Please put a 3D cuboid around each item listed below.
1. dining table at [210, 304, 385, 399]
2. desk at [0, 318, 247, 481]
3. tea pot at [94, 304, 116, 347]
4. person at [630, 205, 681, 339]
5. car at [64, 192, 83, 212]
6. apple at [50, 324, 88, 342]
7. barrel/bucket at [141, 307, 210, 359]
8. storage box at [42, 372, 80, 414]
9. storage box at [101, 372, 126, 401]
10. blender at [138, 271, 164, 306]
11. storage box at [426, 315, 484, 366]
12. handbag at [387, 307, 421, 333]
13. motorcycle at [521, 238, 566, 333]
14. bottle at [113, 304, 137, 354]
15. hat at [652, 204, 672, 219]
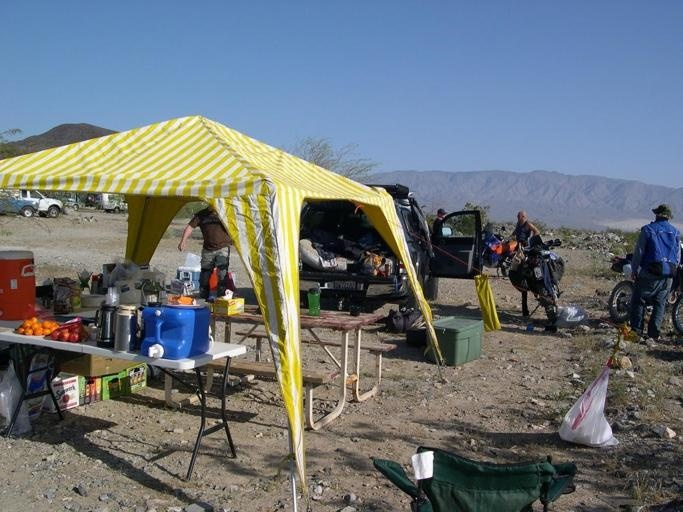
[{"bbox_3d":[-0.156,1.098,7.320,1.666,0.814,1.494,2,2,30],"label":"dining table"},{"bbox_3d":[-2.240,1.374,6.750,3.061,1.384,2.888,1,1,16],"label":"desk"},{"bbox_3d":[-2.281,0.667,5.491,0.359,0.420,0.123,1,1,41],"label":"tea pot"},{"bbox_3d":[5.331,0.284,9.694,0.714,2.396,1.183,1,1,31],"label":"person"},{"bbox_3d":[-22.034,-4.446,46.811,1.305,1.637,5.927,0,1,-25],"label":"car"},{"bbox_3d":[-2.658,0.768,5.619,0.226,0.083,0.227,1,10,5],"label":"apple"},{"bbox_3d":[-1.515,0.704,5.318,0.417,0.379,0.568,0,-3,24],"label":"barrel/bucket"},{"bbox_3d":[-3.176,1.603,6.613,0.378,0.376,0.391,1,-2,0],"label":"storage box"},{"bbox_3d":[-2.820,1.627,7.062,0.260,0.162,0.259,-1,-4,-5],"label":"storage box"},{"bbox_3d":[-2.459,0.415,7.172,0.285,0.396,0.331,1,-7,-28],"label":"blender"},{"bbox_3d":[1.817,1.349,9.001,0.631,0.526,0.862,0,-1,38],"label":"storage box"},{"bbox_3d":[1.166,1.177,10.442,0.506,0.198,0.415,-6,8,-26],"label":"handbag"},{"bbox_3d":[4.092,0.543,11.584,0.774,1.760,1.710,1,1,18],"label":"motorcycle"},{"bbox_3d":[-2.059,0.682,5.371,0.251,0.433,0.141,1,1,19],"label":"bottle"},{"bbox_3d":[5.441,-0.736,9.655,0.324,0.150,0.365,5,8,13],"label":"hat"}]
